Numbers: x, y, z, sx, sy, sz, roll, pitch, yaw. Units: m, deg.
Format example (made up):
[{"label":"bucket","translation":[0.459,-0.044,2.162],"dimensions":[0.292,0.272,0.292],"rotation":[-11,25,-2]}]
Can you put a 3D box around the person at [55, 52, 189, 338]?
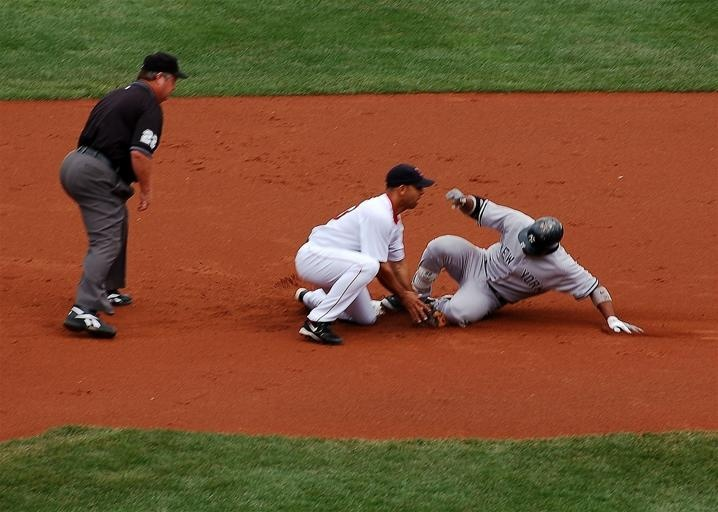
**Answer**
[{"label":"person","translation":[-2.604,-0.642,11.196],"dimensions":[0.886,2.915,1.093],"rotation":[10,16,9]}]

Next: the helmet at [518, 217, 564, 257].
[{"label":"helmet","translation":[1.848,-0.192,11.109],"dimensions":[0.455,0.430,0.299],"rotation":[10,15,18]}]

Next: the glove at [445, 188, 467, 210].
[{"label":"glove","translation":[1.015,-0.604,11.413],"dimensions":[0.211,0.209,0.195],"rotation":[15,17,32]}]

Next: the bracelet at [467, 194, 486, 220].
[{"label":"bracelet","translation":[1.264,-0.498,11.517],"dimensions":[0.152,0.264,0.152],"rotation":[8,15,5]}]

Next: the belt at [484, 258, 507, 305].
[{"label":"belt","translation":[1.549,0.288,11.589],"dimensions":[0.121,0.442,0.344],"rotation":[-29,11,30]}]

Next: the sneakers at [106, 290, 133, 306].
[{"label":"sneakers","translation":[-2.671,0.464,12.048],"dimensions":[0.309,0.104,0.115],"rotation":[3,41,-10]}]

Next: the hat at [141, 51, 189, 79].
[{"label":"hat","translation":[-1.985,-1.967,11.370],"dimensions":[0.516,0.207,0.315],"rotation":[0,24,-24]}]

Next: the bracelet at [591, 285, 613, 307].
[{"label":"bracelet","translation":[2.521,0.417,11.295],"dimensions":[0.212,0.209,0.162],"rotation":[6,14,1]}]

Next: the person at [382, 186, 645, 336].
[{"label":"person","translation":[1.741,0.121,12.048],"dimensions":[1.658,1.032,0.738],"rotation":[42,30,14]}]

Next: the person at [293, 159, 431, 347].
[{"label":"person","translation":[0.033,-0.027,11.170],"dimensions":[1.339,1.858,0.644],"rotation":[6,15,-2]}]

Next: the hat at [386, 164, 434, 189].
[{"label":"hat","translation":[0.532,-0.825,11.138],"dimensions":[0.458,0.180,0.247],"rotation":[-5,16,1]}]

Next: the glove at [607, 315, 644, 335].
[{"label":"glove","translation":[2.768,0.693,11.226],"dimensions":[0.280,0.061,0.241],"rotation":[14,13,-8]}]
